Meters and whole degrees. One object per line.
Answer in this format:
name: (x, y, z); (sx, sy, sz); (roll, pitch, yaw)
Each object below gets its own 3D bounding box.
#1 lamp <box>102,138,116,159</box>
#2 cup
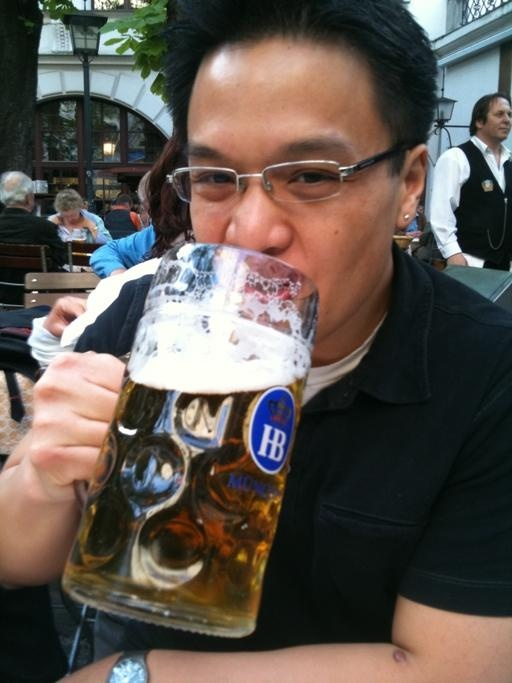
lamp: (-4.303, -5.610, 17.275); (0.491, 0.640, 0.468); (1, 5, 4)
cup: (-0.066, 0.092, 0.614); (0.209, 0.380, 0.188); (6, 10, 5)
